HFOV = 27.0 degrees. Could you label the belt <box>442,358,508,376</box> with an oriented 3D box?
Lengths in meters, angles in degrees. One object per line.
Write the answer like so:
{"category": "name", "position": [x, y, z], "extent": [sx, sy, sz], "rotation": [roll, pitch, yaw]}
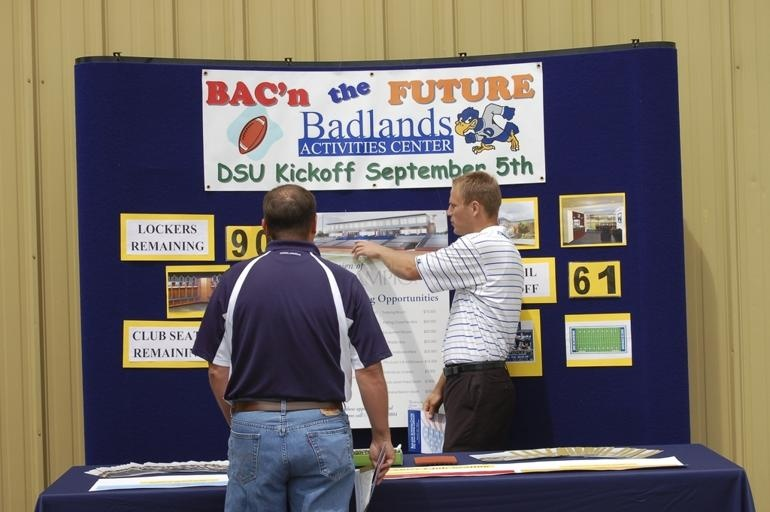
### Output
{"category": "belt", "position": [0.543, 0.672, 9.735], "extent": [0.368, 0.071, 0.078], "rotation": [-3, -1, 1]}

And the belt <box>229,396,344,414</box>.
{"category": "belt", "position": [-0.550, 0.838, 9.044], "extent": [0.612, 0.058, 0.095], "rotation": [-3, -1, -3]}
